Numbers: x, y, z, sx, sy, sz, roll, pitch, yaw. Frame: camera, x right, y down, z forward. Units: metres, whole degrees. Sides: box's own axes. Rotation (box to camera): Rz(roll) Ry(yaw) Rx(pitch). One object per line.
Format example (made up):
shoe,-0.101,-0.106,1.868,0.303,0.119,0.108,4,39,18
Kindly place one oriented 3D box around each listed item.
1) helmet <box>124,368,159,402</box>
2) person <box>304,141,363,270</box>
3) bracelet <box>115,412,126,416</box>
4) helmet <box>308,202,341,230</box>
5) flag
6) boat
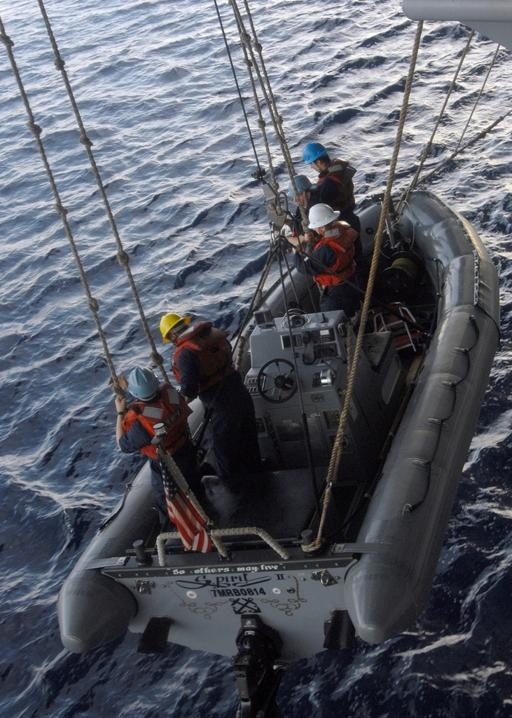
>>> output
helmet,-0.684,0.122,4.392,0.171,0.139,0.206,-22,73,-10
person,0.819,-1.533,7.998,0.699,1.567,0.629,6,32,26
bracelet,-0.806,0.321,4.344,0.033,0.009,0.033,-3,7,-40
helmet,0.561,-1.244,6.370,0.278,0.136,0.214,-32,30,4
flag,-0.380,0.794,4.081,0.206,0.692,0.121,-18,14,-14
boat,0.652,0.377,5.544,2.318,1.692,4.434,5,44,25
